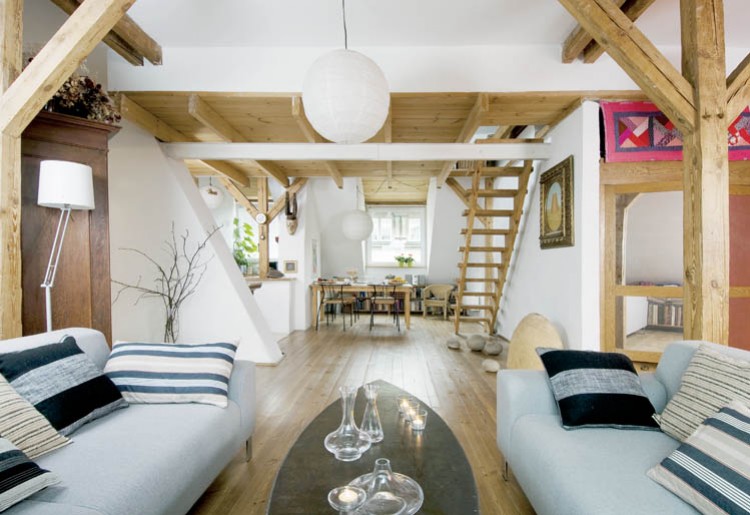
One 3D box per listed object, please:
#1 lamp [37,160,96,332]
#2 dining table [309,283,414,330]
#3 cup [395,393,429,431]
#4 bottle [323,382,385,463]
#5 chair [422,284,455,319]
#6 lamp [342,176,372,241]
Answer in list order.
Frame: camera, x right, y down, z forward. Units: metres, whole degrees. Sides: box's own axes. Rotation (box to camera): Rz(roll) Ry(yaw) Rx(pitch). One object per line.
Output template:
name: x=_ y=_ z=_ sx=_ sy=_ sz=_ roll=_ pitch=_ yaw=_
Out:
lamp: x=-2.861 y=-0.082 z=5.001 sx=0.439 sy=1.531 sz=0.622 roll=0 pitch=0 yaw=-32
dining table: x=-0.260 y=0.856 z=10.487 sx=1.750 sy=0.817 sz=2.529 roll=0 pitch=-1 yaw=0
cup: x=0.275 y=1.186 z=4.117 sx=0.188 sy=0.124 sz=0.302 roll=0 pitch=2 yaw=3
bottle: x=-0.207 y=1.190 z=3.979 sx=0.438 sy=0.627 sz=0.441 roll=0 pitch=-1 yaw=0
chair: x=1.228 y=0.892 z=11.065 sx=0.718 sy=0.779 sz=0.615 roll=-2 pitch=-7 yaw=22
lamp: x=-0.317 y=-0.894 z=9.798 sx=0.501 sy=1.213 sz=1.627 roll=0 pitch=-1 yaw=-2
